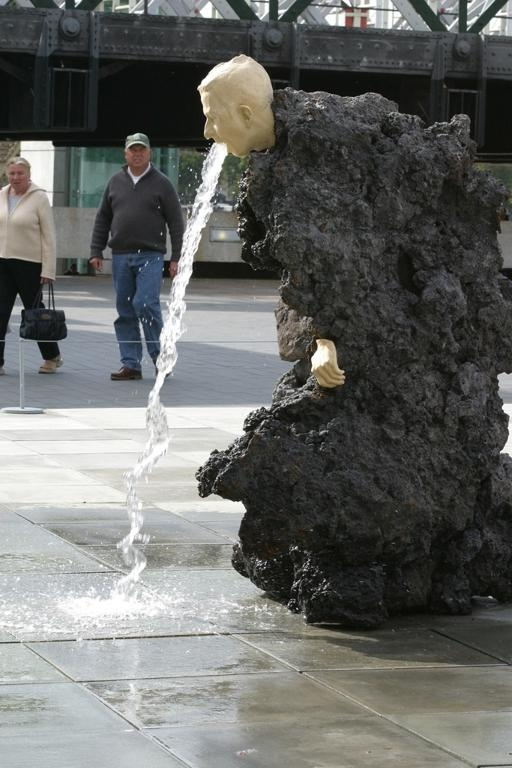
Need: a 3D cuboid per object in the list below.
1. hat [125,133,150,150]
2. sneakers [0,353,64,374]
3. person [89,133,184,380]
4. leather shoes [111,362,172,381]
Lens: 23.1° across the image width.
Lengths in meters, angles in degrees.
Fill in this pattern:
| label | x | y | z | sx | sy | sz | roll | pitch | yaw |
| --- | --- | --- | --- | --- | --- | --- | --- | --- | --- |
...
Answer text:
| label | x | y | z | sx | sy | sz | roll | pitch | yaw |
| --- | --- | --- | --- | --- | --- | --- | --- | --- | --- |
| hat | -0.994 | -2.068 | 10.685 | 0.181 | 0.141 | 0.232 | 1 | 5 | -7 |
| sneakers | -2.028 | -0.179 | 11.502 | 0.562 | 0.147 | 0.190 | -3 | 0 | 23 |
| person | -0.993 | -1.106 | 10.974 | 0.691 | 2.196 | 0.953 | 0 | 7 | -20 |
| leather shoes | -1.028 | -0.099 | 11.269 | 0.515 | 0.185 | 0.174 | 2 | 1 | -27 |
